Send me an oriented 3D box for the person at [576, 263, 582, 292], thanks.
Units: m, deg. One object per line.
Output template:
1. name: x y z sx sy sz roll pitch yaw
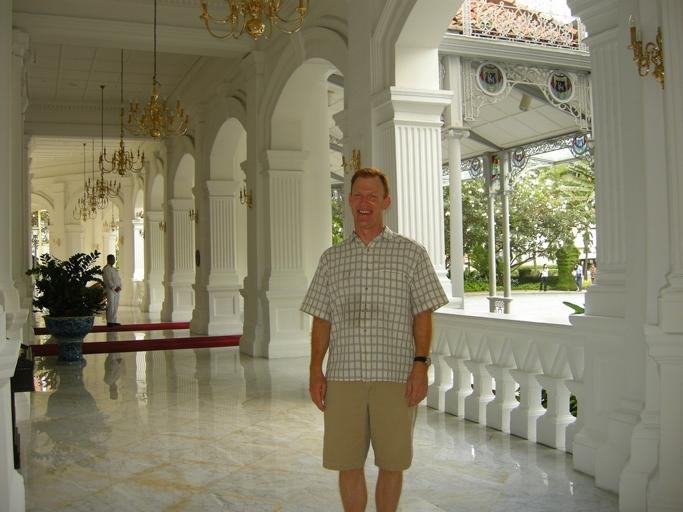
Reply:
1. person: 10.356 0.990 25.145 0.293 1.027 0.944 -1 0 17

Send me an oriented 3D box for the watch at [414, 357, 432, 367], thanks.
1. watch: 0.482 0.615 3.369 0.077 0.060 0.083 0 -12 -5

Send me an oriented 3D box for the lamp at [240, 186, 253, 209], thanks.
1. lamp: -1.803 -1.094 10.893 0.202 0.448 0.635 -1 0 -13
